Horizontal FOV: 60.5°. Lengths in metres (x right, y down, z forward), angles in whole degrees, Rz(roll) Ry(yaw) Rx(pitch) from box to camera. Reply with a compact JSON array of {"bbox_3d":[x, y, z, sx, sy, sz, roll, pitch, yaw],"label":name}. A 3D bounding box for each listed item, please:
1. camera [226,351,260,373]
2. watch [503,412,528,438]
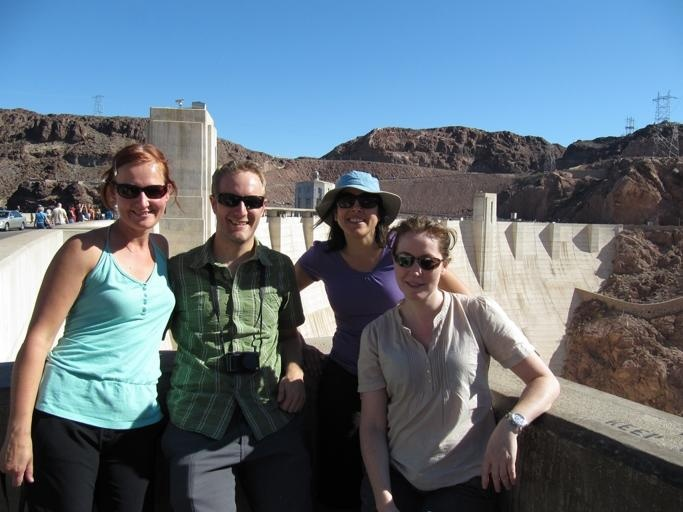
[{"bbox_3d":[-0.538,0.590,3.221,0.186,0.130,0.103,1,-6,-18],"label":"camera"},{"bbox_3d":[0.838,0.822,2.879,0.086,0.119,0.065,29,63,34],"label":"watch"}]
